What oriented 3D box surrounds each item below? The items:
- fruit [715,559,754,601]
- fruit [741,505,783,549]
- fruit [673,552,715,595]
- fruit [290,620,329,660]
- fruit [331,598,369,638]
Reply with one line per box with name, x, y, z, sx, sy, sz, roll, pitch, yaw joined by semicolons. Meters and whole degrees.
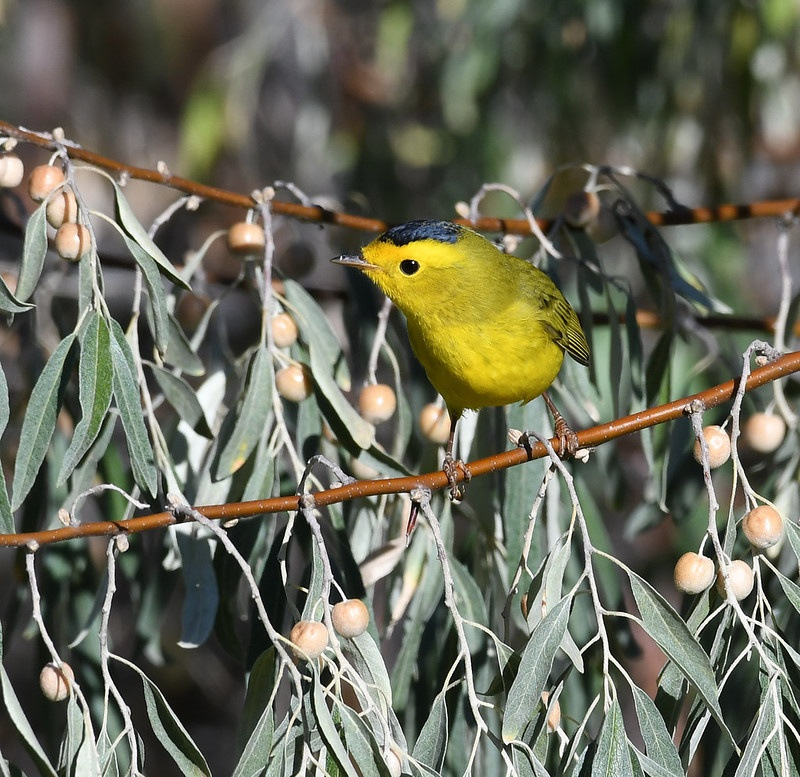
fruit;0.841;0.493;2.982;0.077;0.093;0.138;-1;103;21
fruit;0.931;0.356;3.089;0.077;0.108;0.130;-3;51;2
fruit;0.769;0.474;3.088;0.083;0.095;0.131;22;69;-21
fruit;-0.219;0.616;2.903;0.068;0.087;0.108;4;74;0
fruit;-0.124;0.579;2.969;0.070;0.089;0.108;-10;70;1
